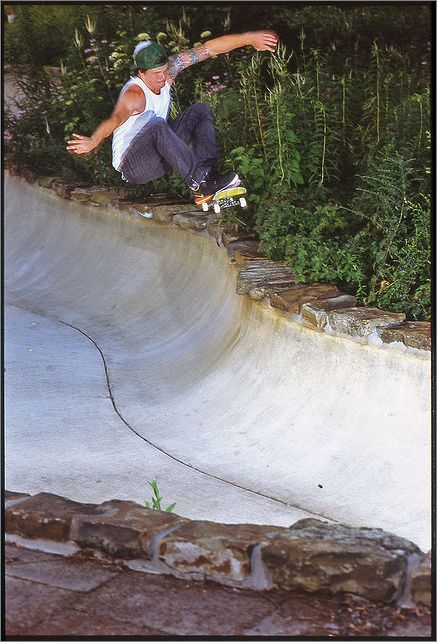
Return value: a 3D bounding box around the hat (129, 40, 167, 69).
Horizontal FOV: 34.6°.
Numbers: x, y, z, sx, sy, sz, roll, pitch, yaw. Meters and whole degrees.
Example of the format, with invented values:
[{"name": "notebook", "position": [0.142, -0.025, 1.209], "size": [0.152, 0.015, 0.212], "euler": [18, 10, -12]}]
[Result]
[{"name": "hat", "position": [-0.618, -2.280, 5.995], "size": [0.232, 0.166, 0.318], "euler": [-22, 27, -18]}]
